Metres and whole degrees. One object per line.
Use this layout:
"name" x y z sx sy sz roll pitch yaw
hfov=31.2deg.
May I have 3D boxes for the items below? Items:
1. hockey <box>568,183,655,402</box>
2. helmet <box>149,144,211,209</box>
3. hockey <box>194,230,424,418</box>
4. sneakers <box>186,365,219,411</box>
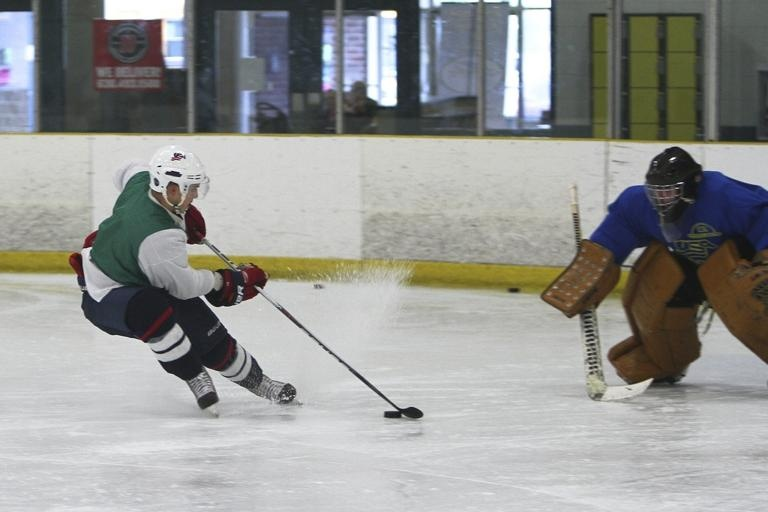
"hockey" 1.248 0.194 7.538 0.432 1.155 0.378 0 7 -15
"helmet" -1.140 -0.432 7.384 0.483 0.318 0.311 -4 17 -10
"hockey" -0.414 0.435 8.483 2.008 0.080 0.326 26 -10 9
"sneakers" -0.974 0.694 7.329 0.142 0.093 0.299 32 9 -37
